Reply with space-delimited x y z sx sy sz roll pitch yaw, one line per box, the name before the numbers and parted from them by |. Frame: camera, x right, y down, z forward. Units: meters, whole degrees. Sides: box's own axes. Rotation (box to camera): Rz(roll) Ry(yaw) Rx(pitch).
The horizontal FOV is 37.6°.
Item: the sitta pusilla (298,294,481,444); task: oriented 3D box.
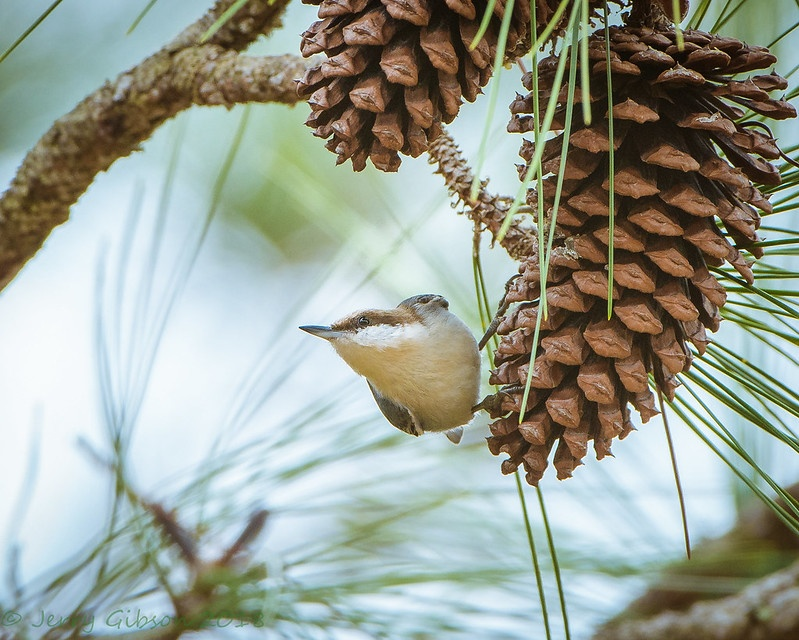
sitta pusilla | 0.033 0.145 3.251 0.295 0.580 0.339 131 147 -55
